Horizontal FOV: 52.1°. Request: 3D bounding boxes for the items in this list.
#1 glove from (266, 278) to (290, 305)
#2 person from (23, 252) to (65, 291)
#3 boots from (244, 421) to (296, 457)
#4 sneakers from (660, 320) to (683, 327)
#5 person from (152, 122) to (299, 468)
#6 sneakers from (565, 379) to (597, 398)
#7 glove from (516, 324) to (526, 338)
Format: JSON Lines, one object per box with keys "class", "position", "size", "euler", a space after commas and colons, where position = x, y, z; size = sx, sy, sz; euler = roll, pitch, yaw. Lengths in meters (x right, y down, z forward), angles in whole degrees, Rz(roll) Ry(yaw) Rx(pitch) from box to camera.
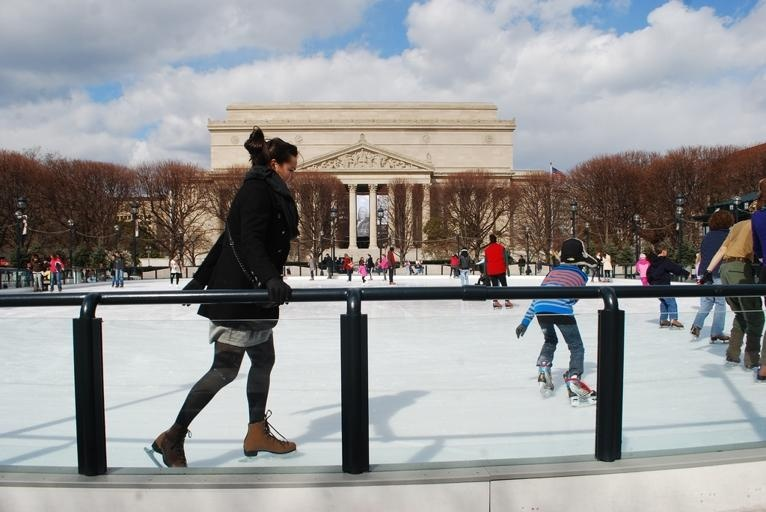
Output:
{"class": "glove", "position": [-0.682, 0.233, 5.157], "size": [0.172, 0.176, 0.144], "euler": [0, -1, -27]}
{"class": "person", "position": [-12.246, 0.601, 28.267], "size": [1.582, 1.665, 0.500], "euler": [-1, -9, -19]}
{"class": "boots", "position": [-0.783, 1.208, 5.197], "size": [0.411, 0.253, 0.141], "euler": [-3, 3, -8]}
{"class": "sneakers", "position": [1.987, 0.461, 5.409], "size": [0.133, 0.050, 0.055], "euler": [-1, -1, 4]}
{"class": "person", "position": [-1.018, 0.224, 5.371], "size": [0.864, 2.331, 0.654], "euler": [-1, -1, -6]}
{"class": "sneakers", "position": [1.321, 0.896, 5.278], "size": [0.244, 0.135, 0.051], "euler": [0, -1, -23]}
{"class": "glove", "position": [0.931, 0.510, 5.320], "size": [0.069, 0.083, 0.024], "euler": [3, -11, 21]}
